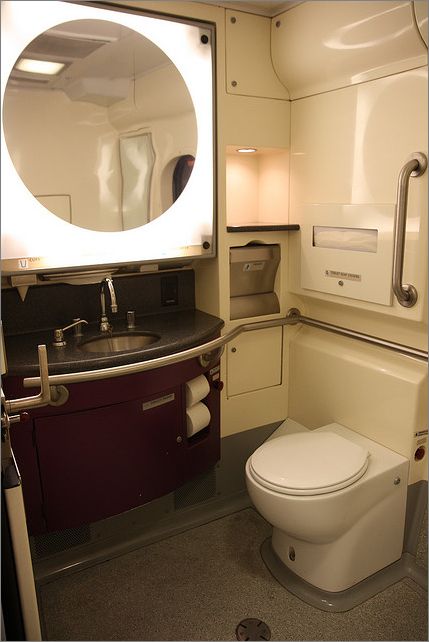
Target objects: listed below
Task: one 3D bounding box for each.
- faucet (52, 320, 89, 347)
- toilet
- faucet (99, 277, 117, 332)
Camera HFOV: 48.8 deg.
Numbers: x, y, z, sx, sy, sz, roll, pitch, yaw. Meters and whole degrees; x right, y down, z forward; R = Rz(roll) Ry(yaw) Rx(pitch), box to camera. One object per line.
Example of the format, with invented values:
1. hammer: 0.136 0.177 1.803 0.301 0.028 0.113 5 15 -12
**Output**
1. faucet: -0.522 0.026 1.712 0.055 0.082 0.184 10 20 27
2. toilet: 0.386 0.687 1.725 0.575 0.467 0.395 -9 12 -36
3. faucet: -0.401 -0.065 1.778 0.071 0.212 0.353 -3 10 -12
